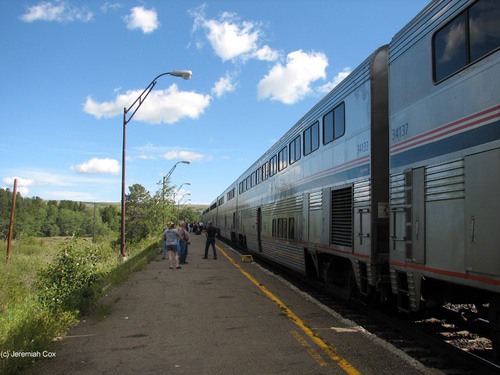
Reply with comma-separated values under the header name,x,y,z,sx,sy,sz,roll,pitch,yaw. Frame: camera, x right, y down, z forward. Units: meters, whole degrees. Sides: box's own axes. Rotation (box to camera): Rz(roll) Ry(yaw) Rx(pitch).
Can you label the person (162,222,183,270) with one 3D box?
name,x,y,z,sx,sy,sz,roll,pitch,yaw
person,-3.080,2.236,15.157,0.584,1.810,0.572,-3,-6,-13
